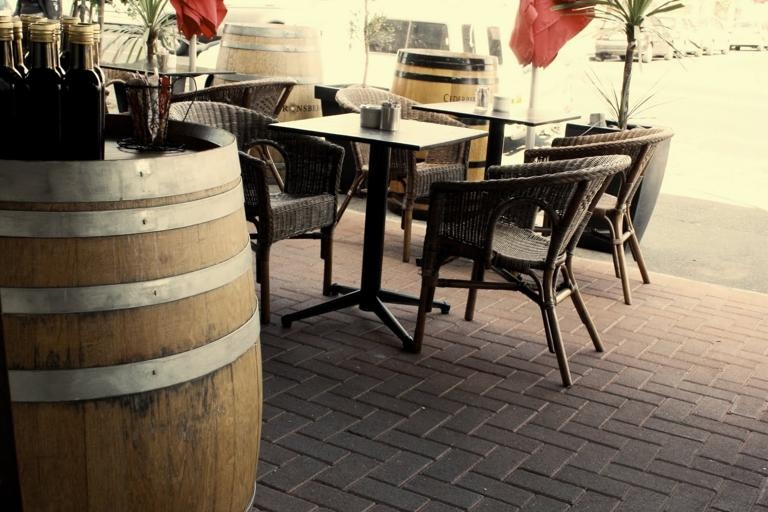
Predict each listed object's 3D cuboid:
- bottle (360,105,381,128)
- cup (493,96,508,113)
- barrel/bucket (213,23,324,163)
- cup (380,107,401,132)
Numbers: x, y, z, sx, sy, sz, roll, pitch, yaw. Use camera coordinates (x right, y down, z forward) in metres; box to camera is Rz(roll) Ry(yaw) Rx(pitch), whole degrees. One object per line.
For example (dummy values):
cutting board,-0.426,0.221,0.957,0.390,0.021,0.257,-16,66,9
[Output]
bottle,-0.082,-0.837,3.508,0.154,0.122,0.137,-3,17,-15
cup,0.959,-1.244,4.778,0.185,0.137,0.168,3,10,12
barrel/bucket,-1.169,-1.993,6.442,1.383,1.149,1.240,0,10,-14
cup,0.033,-0.820,3.480,0.179,0.139,0.129,1,10,-5
